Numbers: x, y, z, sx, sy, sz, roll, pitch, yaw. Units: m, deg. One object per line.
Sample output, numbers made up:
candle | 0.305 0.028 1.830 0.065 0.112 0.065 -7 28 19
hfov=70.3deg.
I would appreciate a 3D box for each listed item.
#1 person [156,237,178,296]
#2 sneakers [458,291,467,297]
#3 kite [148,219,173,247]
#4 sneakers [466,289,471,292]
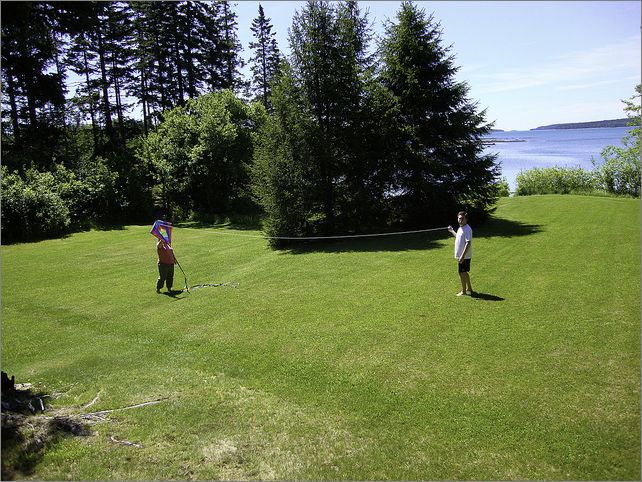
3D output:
person | -5.355 0.834 15.582 0.623 1.786 0.694 -3 7 0
sneakers | 4.260 1.630 13.782 0.111 0.232 0.327 8 -4 -37
kite | -5.377 -0.231 15.300 0.279 0.937 0.759 -2 7 12
sneakers | 4.493 1.505 13.870 0.137 0.075 0.035 -7 -4 -32
